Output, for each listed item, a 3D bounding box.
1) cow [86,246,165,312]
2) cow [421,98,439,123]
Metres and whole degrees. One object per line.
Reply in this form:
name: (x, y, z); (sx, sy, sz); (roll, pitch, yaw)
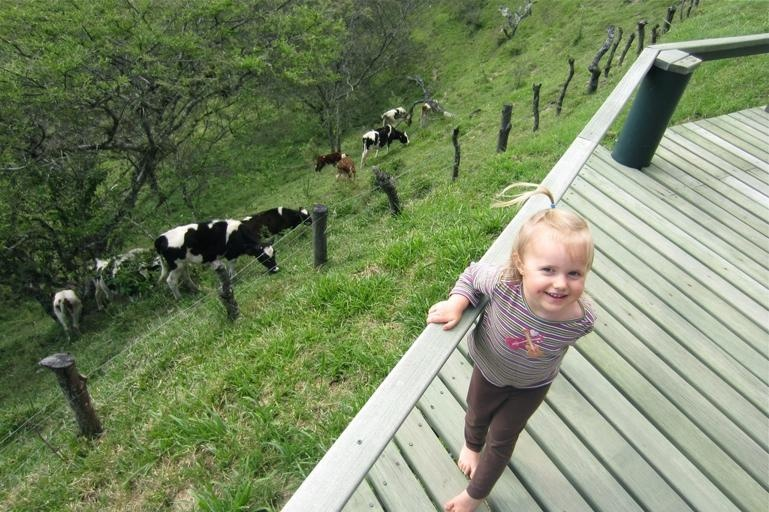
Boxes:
cow: (-7.764, 0.512, 16.259); (1.780, 0.958, 1.841); (-2, 71, -11)
cow: (2.254, -7.531, 28.293); (0.645, 0.707, 1.878); (5, 38, 16)
